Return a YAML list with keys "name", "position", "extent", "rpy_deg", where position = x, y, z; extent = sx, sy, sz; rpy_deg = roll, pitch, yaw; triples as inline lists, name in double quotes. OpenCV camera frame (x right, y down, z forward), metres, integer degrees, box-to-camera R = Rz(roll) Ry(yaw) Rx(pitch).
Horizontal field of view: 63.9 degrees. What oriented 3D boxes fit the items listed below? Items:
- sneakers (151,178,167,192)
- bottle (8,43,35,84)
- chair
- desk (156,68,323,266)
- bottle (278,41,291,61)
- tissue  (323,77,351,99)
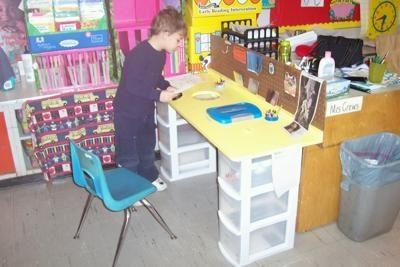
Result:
- name: "sneakers"
  position: [-0.424, 0.530, 3.332]
  extent: [0.124, 0.063, 0.180]
  rpy_deg: [-16, 29, -34]
- name: "bottle"
  position: [-1.946, -0.756, 3.480]
  extent: [0.222, 0.396, 0.165]
  rpy_deg: [-17, 31, -27]
- name: "chair"
  position: [-0.671, 0.649, 2.813]
  extent: [0.633, 0.812, 0.549]
  rpy_deg: [-25, 45, -36]
- name: "desk"
  position: [0.332, 0.287, 2.817]
  extent: [0.757, 1.154, 1.172]
  rpy_deg: [-15, 29, -24]
- name: "bottle"
  position: [0.748, -0.725, 2.820]
  extent: [0.115, 0.190, 0.262]
  rpy_deg: [4, 27, 13]
- name: "tissue "
  position: [1.048, -0.357, 2.454]
  extent: [0.219, 0.101, 0.155]
  rpy_deg: [-12, 20, -28]
